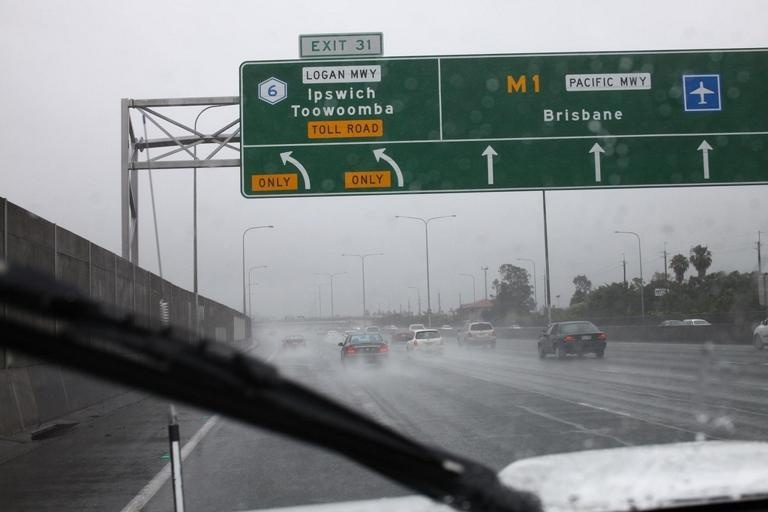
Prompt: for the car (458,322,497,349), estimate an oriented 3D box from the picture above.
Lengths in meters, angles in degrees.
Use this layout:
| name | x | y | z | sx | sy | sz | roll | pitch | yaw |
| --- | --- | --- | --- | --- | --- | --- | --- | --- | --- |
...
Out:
| name | x | y | z | sx | sy | sz | roll | pitch | yaw |
| --- | --- | --- | --- | --- | --- | --- | --- | --- | --- |
| car | 6.094 | 5.003 | 50.641 | 2.104 | 1.596 | 1.492 | -4 | -4 | 21 |
